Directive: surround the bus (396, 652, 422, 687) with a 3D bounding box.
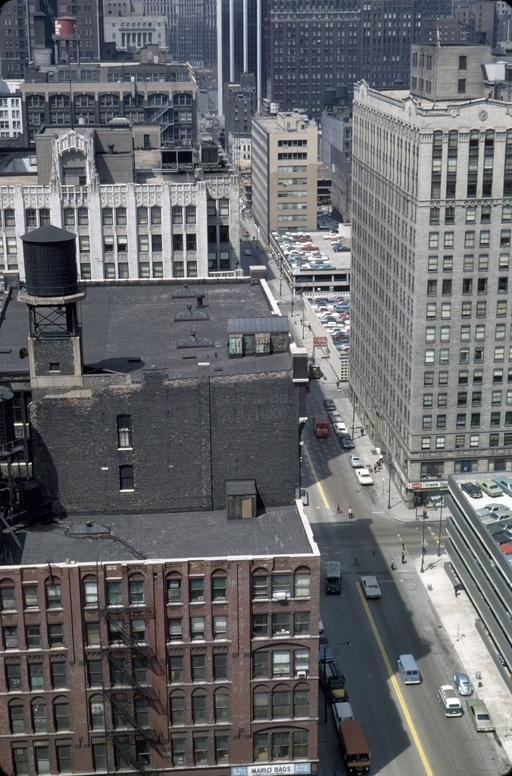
[{"bbox_3d":[15.087,27.895,137.816,2.261,1.878,3.821,-4,18,2],"label":"bus"}]

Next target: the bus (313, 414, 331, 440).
[{"bbox_3d":[9.550,6.165,205.705,1.798,1.803,3.407,0,18,-3],"label":"bus"}]

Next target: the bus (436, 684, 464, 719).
[{"bbox_3d":[18.203,29.688,132.348,1.109,1.060,3.545,0,18,-2],"label":"bus"}]
